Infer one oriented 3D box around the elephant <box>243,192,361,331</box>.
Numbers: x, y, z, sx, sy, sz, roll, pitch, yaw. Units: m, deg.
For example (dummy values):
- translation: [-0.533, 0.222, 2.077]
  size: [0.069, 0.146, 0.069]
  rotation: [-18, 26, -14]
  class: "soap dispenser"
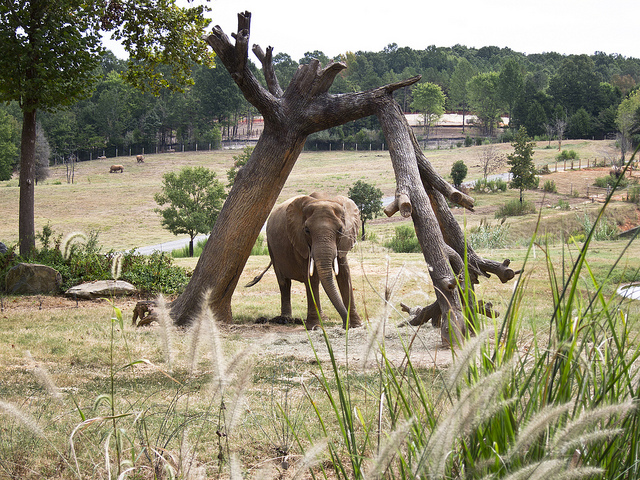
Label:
- translation: [-0.023, 0.419, 21.621]
  size: [1.304, 3.032, 2.960]
  rotation: [-6, 9, -31]
  class: "elephant"
